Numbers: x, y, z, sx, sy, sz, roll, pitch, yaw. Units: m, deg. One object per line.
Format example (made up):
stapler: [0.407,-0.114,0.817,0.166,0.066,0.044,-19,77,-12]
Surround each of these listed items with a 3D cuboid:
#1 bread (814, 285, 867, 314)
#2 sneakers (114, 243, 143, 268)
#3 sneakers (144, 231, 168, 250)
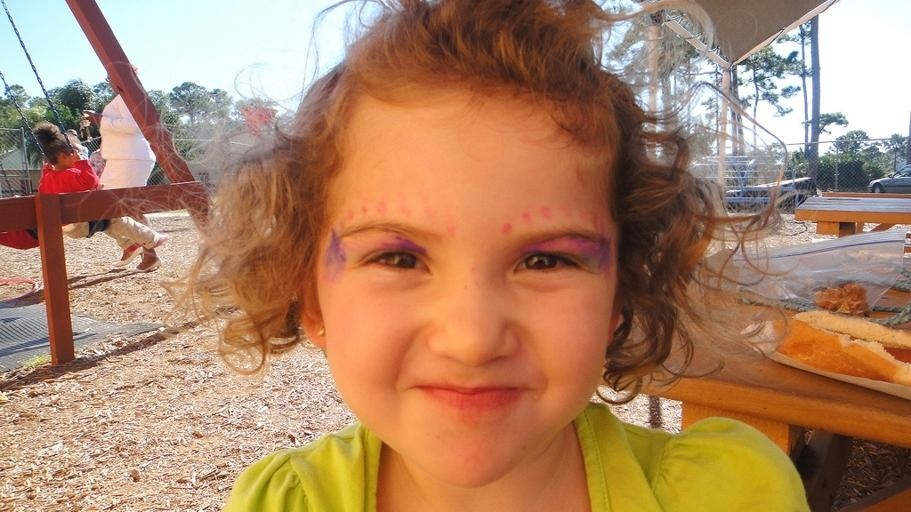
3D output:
bread: [1.649,0.183,2.731,0.155,0.049,0.154,-34,46,-26]
sneakers: [-3.936,0.005,7.632,0.329,0.134,0.121,-45,19,-29]
sneakers: [-3.637,-0.172,7.650,0.143,0.166,0.409,-8,19,-3]
